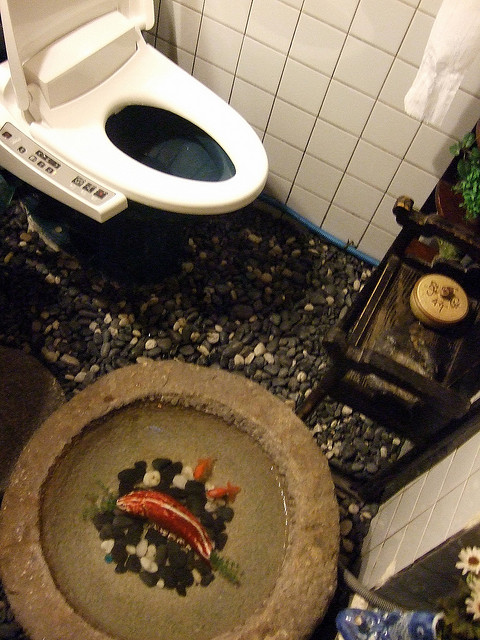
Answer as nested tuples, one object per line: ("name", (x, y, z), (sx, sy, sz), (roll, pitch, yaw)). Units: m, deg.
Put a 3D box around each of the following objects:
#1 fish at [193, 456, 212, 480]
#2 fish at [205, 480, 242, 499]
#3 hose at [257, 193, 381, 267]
("fish", (-0.082, 0.304, 1.028), (0.023, 0.059, 0.019), (33, 6, 3))
("fish", (-0.035, 0.345, 1.013), (0.076, 0.037, 0.028), (-10, 13, -18))
("hose", (0.282, -0.300, 1.726), (0.545, 0.076, 0.055), (30, 0, 1))
